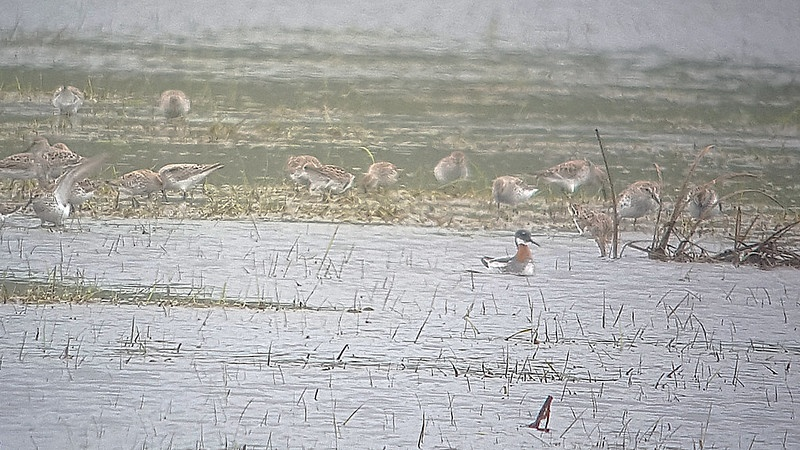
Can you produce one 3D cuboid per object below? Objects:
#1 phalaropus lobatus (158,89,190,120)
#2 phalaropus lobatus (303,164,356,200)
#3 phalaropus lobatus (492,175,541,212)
[{"bbox_3d":[-8.044,-4.181,33.447,0.919,0.787,1.247,-5,27,-19],"label":"phalaropus lobatus"},{"bbox_3d":[-1.873,-1.204,25.174,1.445,0.806,0.652,25,13,-26],"label":"phalaropus lobatus"},{"bbox_3d":[2.921,-0.787,24.571,1.034,0.929,0.708,8,27,6],"label":"phalaropus lobatus"}]
